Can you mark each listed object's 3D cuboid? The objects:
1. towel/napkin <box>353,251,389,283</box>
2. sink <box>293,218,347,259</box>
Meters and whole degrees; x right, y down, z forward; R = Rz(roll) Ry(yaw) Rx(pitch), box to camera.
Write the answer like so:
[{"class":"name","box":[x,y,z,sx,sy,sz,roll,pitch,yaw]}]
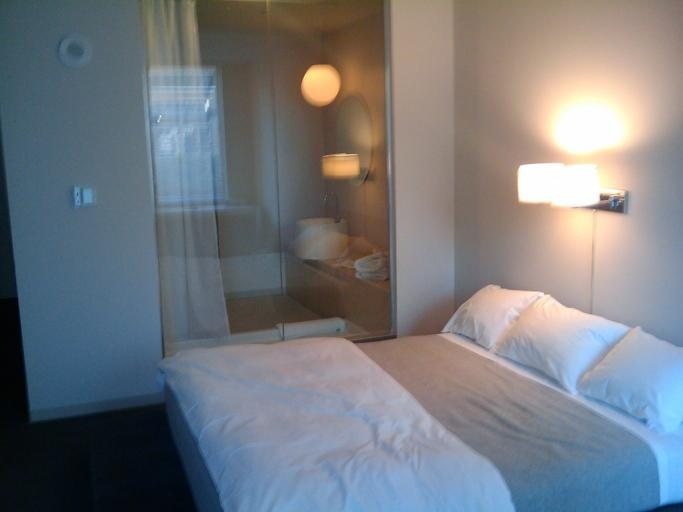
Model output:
[{"class":"towel/napkin","box":[0.245,0.090,4.389,0.252,0.215,0.109,-4,9,-16]},{"class":"sink","box":[-0.169,-0.127,4.306,0.341,0.220,0.343,1,3,-2]}]
